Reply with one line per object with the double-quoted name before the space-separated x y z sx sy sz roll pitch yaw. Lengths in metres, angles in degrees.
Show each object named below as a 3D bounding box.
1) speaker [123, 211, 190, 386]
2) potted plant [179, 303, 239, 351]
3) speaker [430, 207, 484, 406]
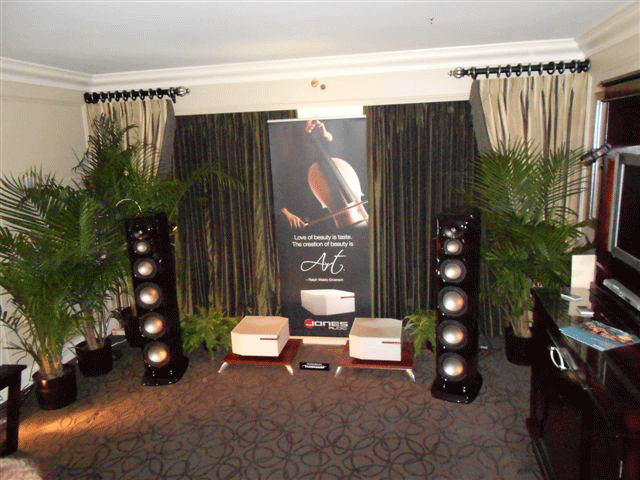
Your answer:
"speaker" -1.477 0.557 3.873 0.410 1.583 0.389 -9 8 -26
"potted plant" -1.185 0.948 4.501 0.456 0.216 0.480 2 11 9
"speaker" 1.094 0.567 3.473 0.449 1.588 0.248 -3 7 15
